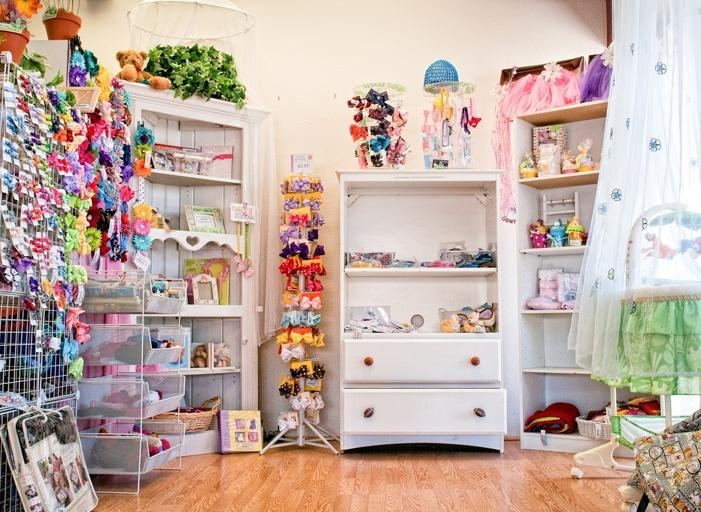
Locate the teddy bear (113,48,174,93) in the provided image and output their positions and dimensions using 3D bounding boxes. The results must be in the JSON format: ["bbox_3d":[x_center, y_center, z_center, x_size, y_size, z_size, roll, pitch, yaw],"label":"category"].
[{"bbox_3d":[-1.394,-1.248,3.725,0.306,0.281,0.275,-3,-6,33],"label":"teddy bear"}]

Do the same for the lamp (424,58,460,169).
[{"bbox_3d":[0.639,-0.983,3.902,0.250,0.752,0.234,-1,-5,9],"label":"lamp"}]

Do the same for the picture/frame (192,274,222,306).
[{"bbox_3d":[-1.022,0.244,3.889,0.211,0.274,0.028,-2,-20,-22],"label":"picture/frame"}]

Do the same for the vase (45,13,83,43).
[{"bbox_3d":[-1.518,-1.177,2.945,0.165,0.123,0.164,1,-2,-16],"label":"vase"}]

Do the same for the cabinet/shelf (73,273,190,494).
[{"bbox_3d":[-1.242,0.706,3.175,0.447,1.101,0.680,-2,-8,4],"label":"cabinet/shelf"}]

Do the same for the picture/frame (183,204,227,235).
[{"bbox_3d":[-1.031,-0.248,3.902,0.233,0.243,0.026,3,-30,-27],"label":"picture/frame"}]

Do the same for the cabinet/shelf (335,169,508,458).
[{"bbox_3d":[0.510,0.367,3.898,1.192,1.912,0.536,0,-5,1],"label":"cabinet/shelf"}]

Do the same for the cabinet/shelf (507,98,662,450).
[{"bbox_3d":[1.465,0.146,3.922,0.719,2.330,0.517,-1,-5,15],"label":"cabinet/shelf"}]
